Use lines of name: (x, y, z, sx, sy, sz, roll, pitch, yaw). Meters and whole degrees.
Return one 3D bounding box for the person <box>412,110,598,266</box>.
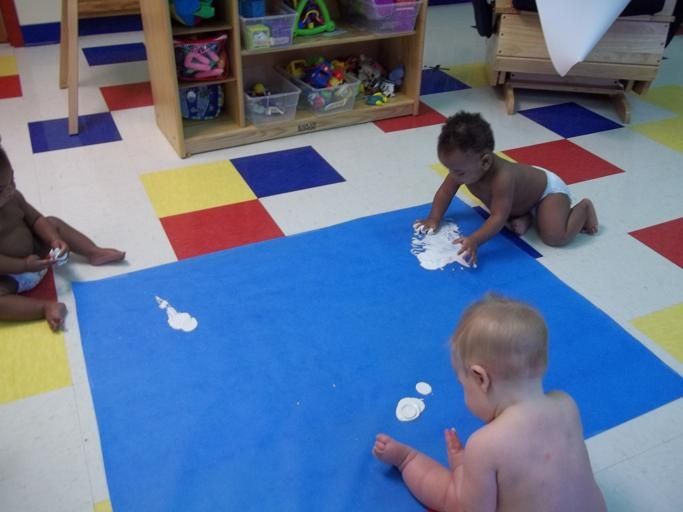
person: (0.786, -0.371, 2.460, 0.826, 0.690, 0.484, -13, 24, -14)
